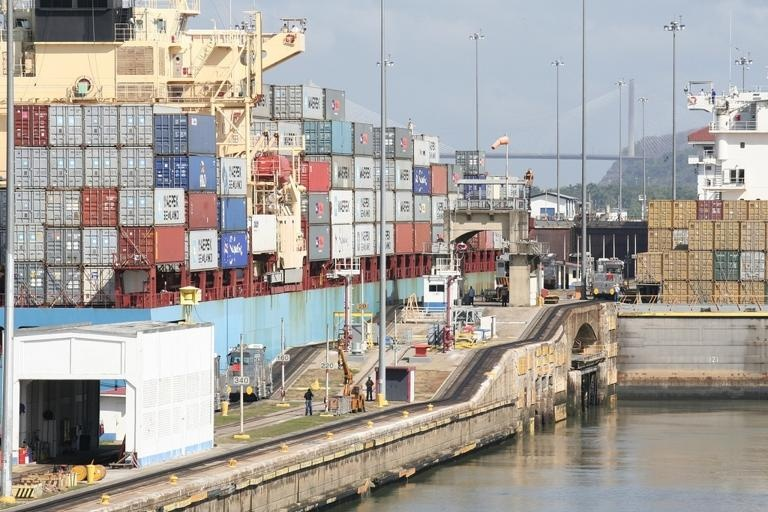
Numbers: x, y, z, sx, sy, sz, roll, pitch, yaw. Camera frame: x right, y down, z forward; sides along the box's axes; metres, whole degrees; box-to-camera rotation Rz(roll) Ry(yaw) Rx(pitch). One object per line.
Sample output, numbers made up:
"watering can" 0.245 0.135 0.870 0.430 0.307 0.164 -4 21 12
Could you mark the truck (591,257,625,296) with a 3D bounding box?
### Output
"truck" 20.057 2.449 168.015 2.102 2.709 5.753 1 3 10
